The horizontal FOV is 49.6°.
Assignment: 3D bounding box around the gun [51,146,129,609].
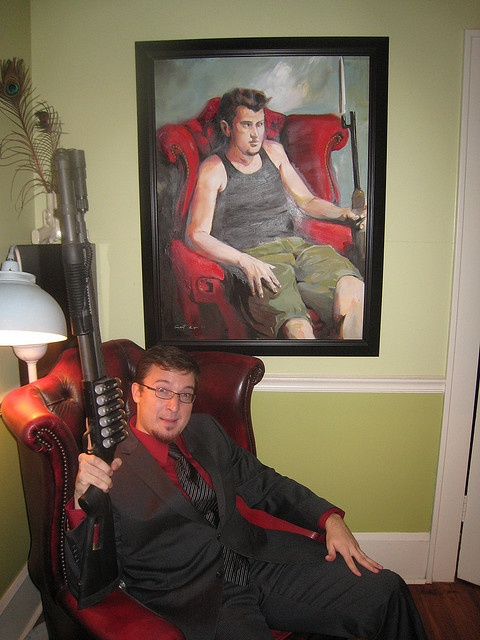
[{"bbox_3d":[-0.392,0.170,1.295,0.182,1.147,0.222,-7,14,-22],"label":"gun"}]
